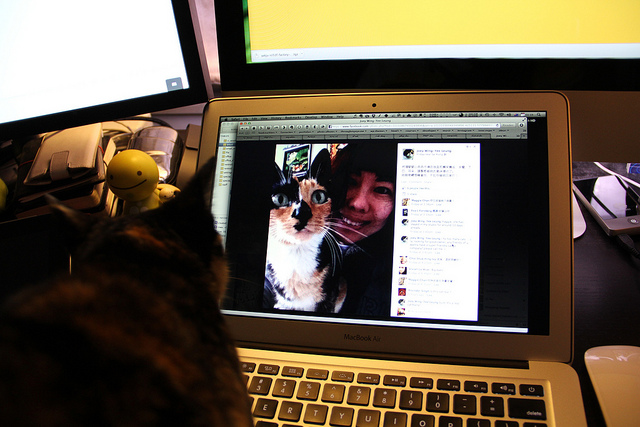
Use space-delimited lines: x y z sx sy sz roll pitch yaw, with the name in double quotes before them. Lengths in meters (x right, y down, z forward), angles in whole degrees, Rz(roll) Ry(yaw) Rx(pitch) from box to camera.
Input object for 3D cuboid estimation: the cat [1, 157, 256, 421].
"cat" -0.136 0.052 0.378 0.183 0.152 0.086 6 2 -7
